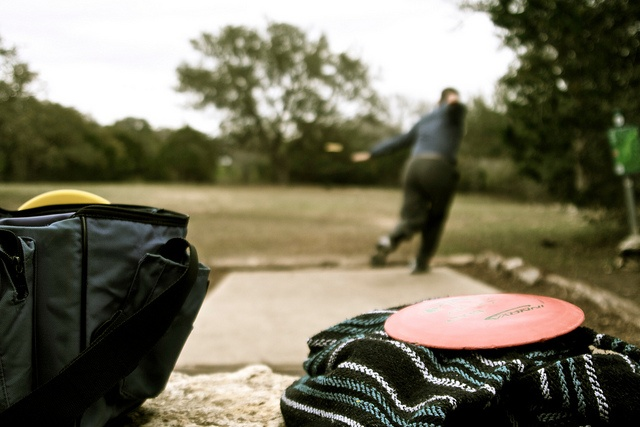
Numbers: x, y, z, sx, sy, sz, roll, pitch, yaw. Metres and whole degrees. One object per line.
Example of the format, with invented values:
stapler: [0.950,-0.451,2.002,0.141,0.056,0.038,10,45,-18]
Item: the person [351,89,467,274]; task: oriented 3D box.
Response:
person: [0.507,-0.138,5.316,0.518,1.168,1.318,3,7,2]
